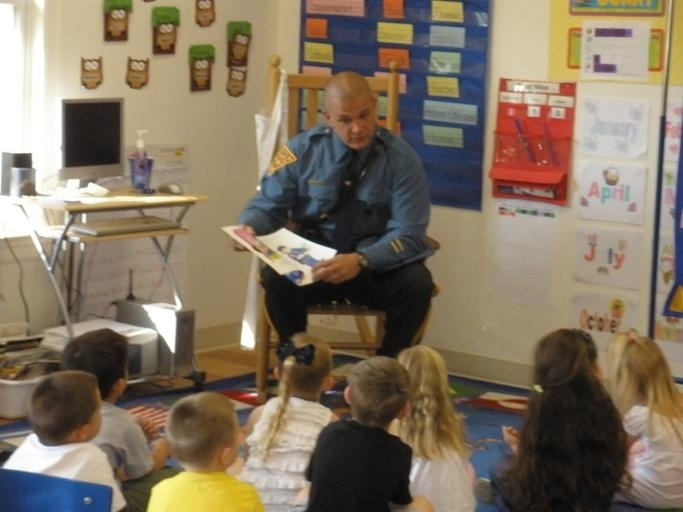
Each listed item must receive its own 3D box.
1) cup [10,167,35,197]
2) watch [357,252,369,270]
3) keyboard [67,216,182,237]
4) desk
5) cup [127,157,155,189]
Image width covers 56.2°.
[{"bbox_3d":[-1.539,-0.359,3.085,0.114,0.140,0.087,-2,10,-22],"label":"cup"},{"bbox_3d":[0.091,0.023,2.737,0.041,0.065,0.058,-18,6,-23],"label":"watch"},{"bbox_3d":[-1.048,-0.149,3.115,0.211,0.062,0.498,11,14,43],"label":"keyboard"},{"bbox_3d":[-1.207,0.028,3.301,0.721,0.708,0.918,7,12,40],"label":"desk"},{"bbox_3d":[-1.040,-0.434,3.368,0.151,0.171,0.148,0,-1,0],"label":"cup"}]
